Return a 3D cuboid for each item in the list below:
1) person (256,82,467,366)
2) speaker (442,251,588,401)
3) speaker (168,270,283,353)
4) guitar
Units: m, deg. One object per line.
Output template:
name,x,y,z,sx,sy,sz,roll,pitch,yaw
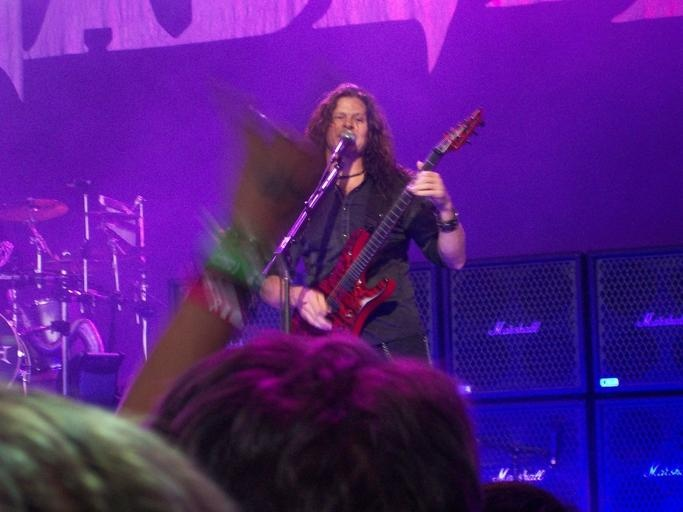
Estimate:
person,0.126,-0.175,3.217,0.647,1.533,0.168,18,5,35
speaker,0.904,0.371,3.546,0.647,0.692,0.241,-3,-5,3
speaker,-0.243,0.115,1.471,0.181,0.133,0.106,-1,-35,8
guitar,0.197,-0.148,3.270,0.890,1.004,0.278,-2,2,-6
